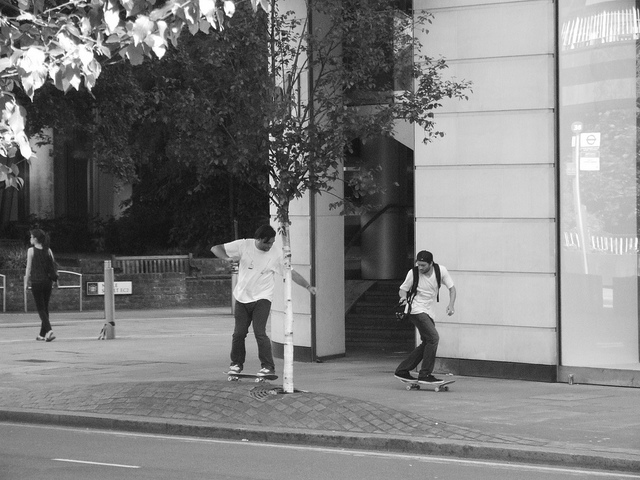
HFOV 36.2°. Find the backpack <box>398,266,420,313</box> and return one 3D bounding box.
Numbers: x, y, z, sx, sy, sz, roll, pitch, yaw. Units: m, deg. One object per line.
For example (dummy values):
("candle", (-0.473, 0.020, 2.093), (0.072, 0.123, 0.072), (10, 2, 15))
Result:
("backpack", (1.334, 0.717, 14.094), (0.125, 0.570, 0.380), (9, -9, -3))

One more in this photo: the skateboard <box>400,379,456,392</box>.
("skateboard", (1.555, 2.089, 14.023), (0.867, 0.181, 0.284), (-3, -5, 22))

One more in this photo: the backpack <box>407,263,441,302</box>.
("backpack", (1.497, 0.609, 14.094), (0.484, 0.723, 0.422), (-1, 5, -7))

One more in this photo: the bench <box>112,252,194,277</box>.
("bench", (-5.366, 0.676, 31.275), (1.995, 0.756, 1.120), (0, -11, -13))

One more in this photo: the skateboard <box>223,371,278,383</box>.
("skateboard", (-1.016, 2.005, 14.265), (0.878, 0.170, 0.254), (2, -3, 21))

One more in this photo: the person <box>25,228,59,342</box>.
("person", (-5.862, 0.955, 20.675), (0.629, 2.364, 1.185), (-1, -1, -17))
